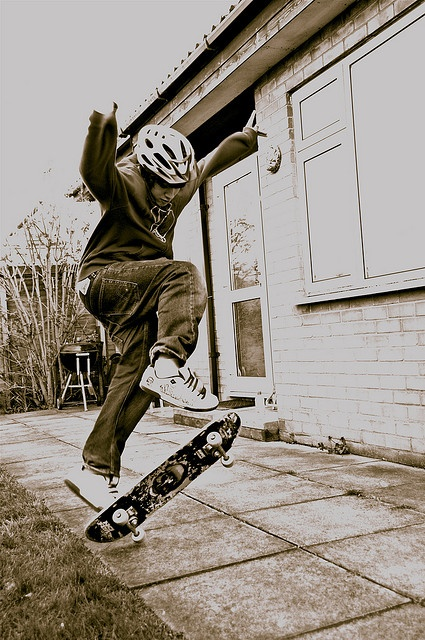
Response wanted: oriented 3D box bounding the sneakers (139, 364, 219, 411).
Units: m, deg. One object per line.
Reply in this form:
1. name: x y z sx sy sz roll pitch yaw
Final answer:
1. sneakers: -0.133 0.261 2.145 0.282 0.180 0.176 -2 -3 -8

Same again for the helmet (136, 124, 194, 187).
1. helmet: -0.201 -0.706 2.416 0.200 0.278 0.085 -35 -5 -5

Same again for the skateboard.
1. skateboard: -0.233 0.769 2.701 1.041 0.250 0.153 -36 -6 -15
